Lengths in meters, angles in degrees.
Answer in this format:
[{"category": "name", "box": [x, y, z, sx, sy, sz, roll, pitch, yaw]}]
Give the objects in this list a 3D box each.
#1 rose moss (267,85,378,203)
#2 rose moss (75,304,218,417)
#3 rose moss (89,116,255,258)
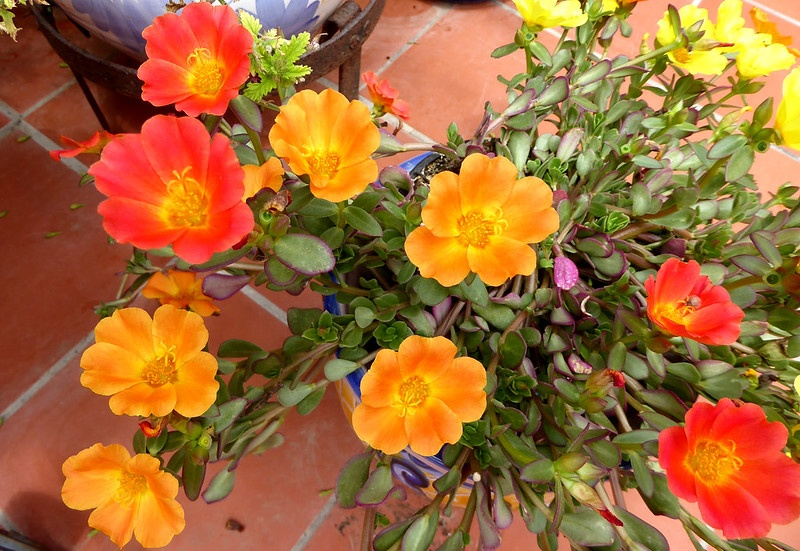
[{"category": "rose moss", "box": [-0.089, -0.164, 0.661, 0.140, 0.076, 0.120, 23, 45, -5]}, {"category": "rose moss", "box": [-0.318, 0.114, 0.690, 0.172, 0.104, 0.126, 15, 46, -13]}, {"category": "rose moss", "box": [-0.265, -0.104, 0.613, 0.146, 0.112, 0.194, -12, 57, -33]}]
